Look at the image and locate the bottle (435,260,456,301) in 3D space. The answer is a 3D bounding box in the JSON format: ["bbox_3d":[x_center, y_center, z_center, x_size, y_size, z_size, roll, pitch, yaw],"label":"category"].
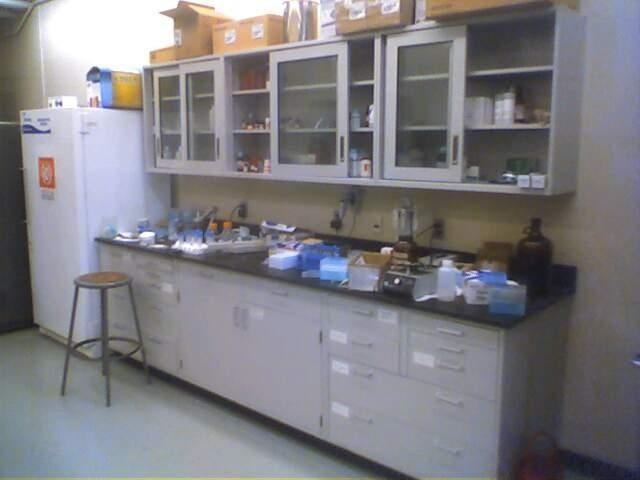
[{"bbox_3d":[0.654,0.197,2.740,0.107,0.201,0.153,3,9,13],"label":"bottle"}]

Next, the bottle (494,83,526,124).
[{"bbox_3d":[0.999,-0.691,2.769,0.172,0.214,0.134,1,8,4],"label":"bottle"}]

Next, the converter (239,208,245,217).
[{"bbox_3d":[-0.607,-0.215,4.151,0.056,0.053,0.028,11,16,34],"label":"converter"}]

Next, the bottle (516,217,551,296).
[{"bbox_3d":[1.130,0.121,2.803,0.167,0.314,0.169,1,8,0],"label":"bottle"}]

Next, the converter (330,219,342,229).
[{"bbox_3d":[0.114,-0.099,3.654,0.093,0.080,0.048,1,1,17],"label":"converter"}]

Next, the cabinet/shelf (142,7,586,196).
[{"bbox_3d":[0.147,-0.797,3.309,2.677,0.906,0.554,5,9,26],"label":"cabinet/shelf"}]
